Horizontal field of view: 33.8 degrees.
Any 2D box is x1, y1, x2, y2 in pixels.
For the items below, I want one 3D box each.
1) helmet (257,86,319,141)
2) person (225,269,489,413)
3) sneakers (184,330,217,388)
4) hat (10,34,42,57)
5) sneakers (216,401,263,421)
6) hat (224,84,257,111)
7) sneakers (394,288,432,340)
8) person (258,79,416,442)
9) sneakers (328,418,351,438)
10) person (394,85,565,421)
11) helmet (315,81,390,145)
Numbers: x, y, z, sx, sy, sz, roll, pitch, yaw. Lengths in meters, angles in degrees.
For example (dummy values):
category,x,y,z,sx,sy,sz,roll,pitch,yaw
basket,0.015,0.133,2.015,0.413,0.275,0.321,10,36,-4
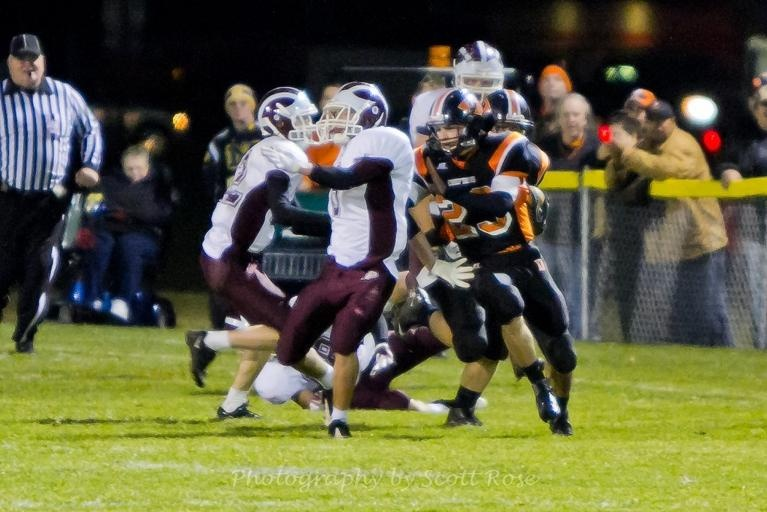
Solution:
category,x,y,z,sx,sy,sz,roll,pitch,yaw
helmet,-0.552,-0.848,7.536,0.378,0.267,0.283,0,11,3
person,-0.048,0.640,7.519,1.166,0.348,0.700,11,-23,12
sneakers,-1.074,0.612,7.525,0.184,0.365,0.132,0,6,11
hat,-2.370,-1.396,8.403,0.196,0.176,0.206,0,2,-14
sneakers,-0.851,0.920,7.464,0.280,0.112,0.088,3,5,-9
hat,-0.987,-1.114,8.803,0.207,0.140,0.194,0,-1,-7
sneakers,0.133,0.343,7.629,0.133,0.151,0.378,11,-36,-32
person,-0.208,0.155,7.043,0.752,1.744,0.338,0,2,1
sneakers,-0.247,0.976,7.079,0.153,0.134,0.106,2,-5,-41
person,0.646,0.050,7.355,0.930,2.007,0.547,0,2,0
helmet,-0.177,-0.825,7.267,0.436,0.296,0.329,0,0,-21
